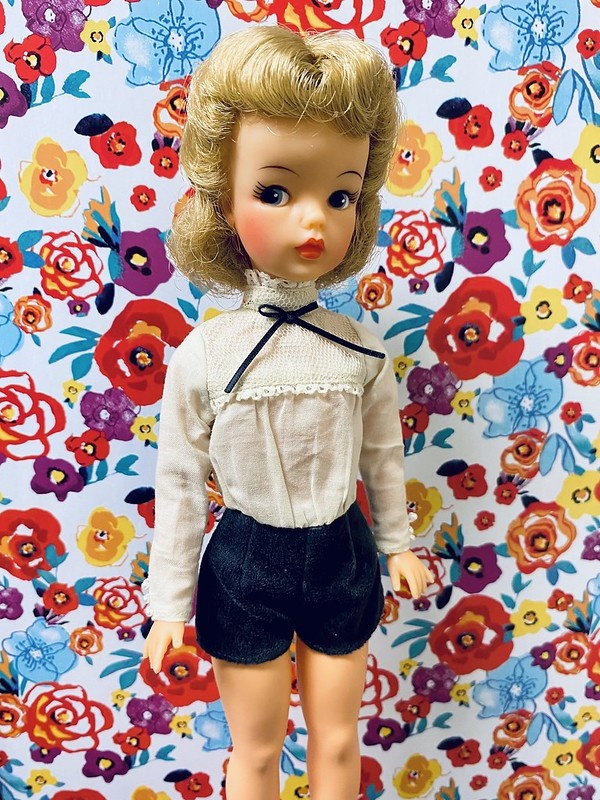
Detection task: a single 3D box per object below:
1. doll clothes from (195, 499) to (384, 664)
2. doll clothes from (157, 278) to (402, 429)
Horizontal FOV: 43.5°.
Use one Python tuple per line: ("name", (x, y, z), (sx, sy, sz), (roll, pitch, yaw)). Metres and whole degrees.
("doll clothes", (-0.012, 0.270, 1.182), (0.333, 0.175, 0.197), (-2, 97, -15))
("doll clothes", (-0.030, -0.077, 1.184), (0.415, 0.198, 0.225), (-3, 93, -26))
